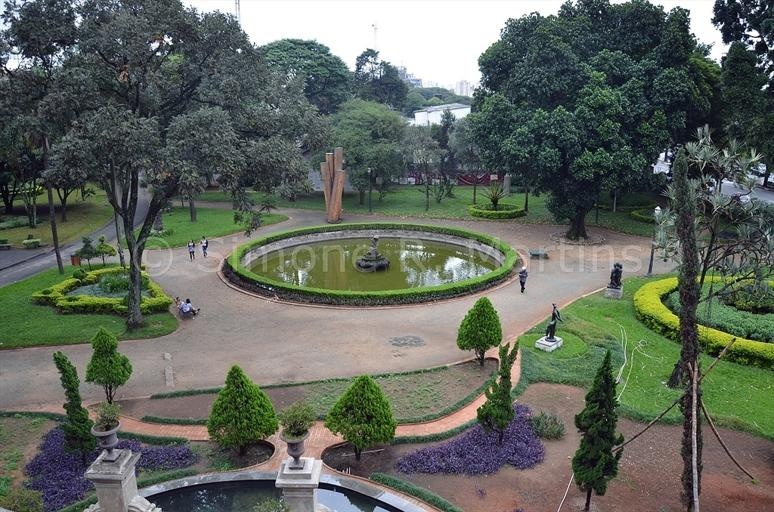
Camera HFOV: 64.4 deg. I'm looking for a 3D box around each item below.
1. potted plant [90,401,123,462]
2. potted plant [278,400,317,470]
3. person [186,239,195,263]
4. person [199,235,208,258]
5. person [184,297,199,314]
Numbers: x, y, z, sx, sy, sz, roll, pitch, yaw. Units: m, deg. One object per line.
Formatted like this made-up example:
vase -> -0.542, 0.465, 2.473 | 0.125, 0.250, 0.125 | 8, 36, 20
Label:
potted plant -> -10.152, 6.334, 22.163 | 0.938, 1.739, 1.325 | -5, 10, -26
potted plant -> -3.295, 6.470, 22.905 | 1.925, 2.732, 1.856 | 0, 0, -4
person -> -13.889, -0.408, 43.605 | 0.332, 1.335, 2.003 | -3, 9, -14
person -> -13.240, -0.703, 44.455 | 0.502, 1.393, 2.076 | -4, 9, -17
person -> -11.001, 2.817, 34.443 | 0.533, 0.616, 1.169 | -7, 21, -25
